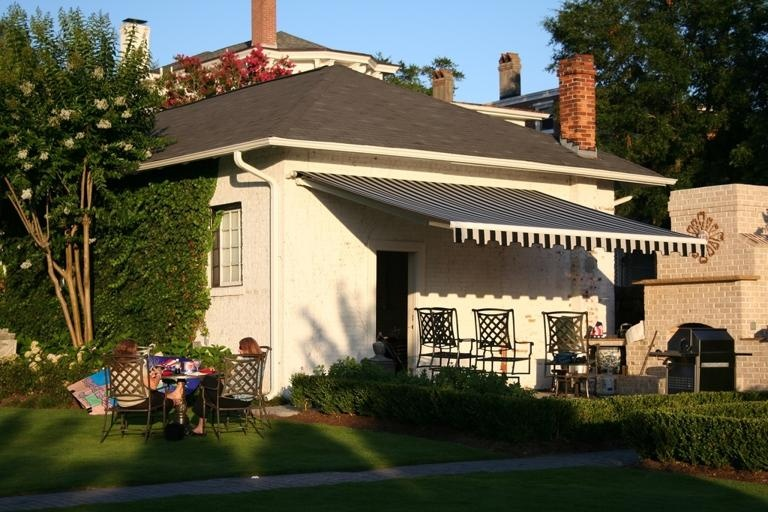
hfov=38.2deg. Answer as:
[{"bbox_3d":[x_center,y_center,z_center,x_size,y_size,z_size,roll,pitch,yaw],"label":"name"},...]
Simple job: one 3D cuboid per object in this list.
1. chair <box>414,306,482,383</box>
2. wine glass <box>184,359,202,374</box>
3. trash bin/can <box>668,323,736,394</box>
[{"bbox_3d":[1.503,2.238,28.998,1.749,2.357,1.745,0,0,-44],"label":"chair"},{"bbox_3d":[-4.153,2.424,24.181,0.260,0.213,0.283,3,-5,-40],"label":"wine glass"},{"bbox_3d":[7.444,2.478,26.292,1.513,1.543,0.921,0,-5,14],"label":"trash bin/can"}]
